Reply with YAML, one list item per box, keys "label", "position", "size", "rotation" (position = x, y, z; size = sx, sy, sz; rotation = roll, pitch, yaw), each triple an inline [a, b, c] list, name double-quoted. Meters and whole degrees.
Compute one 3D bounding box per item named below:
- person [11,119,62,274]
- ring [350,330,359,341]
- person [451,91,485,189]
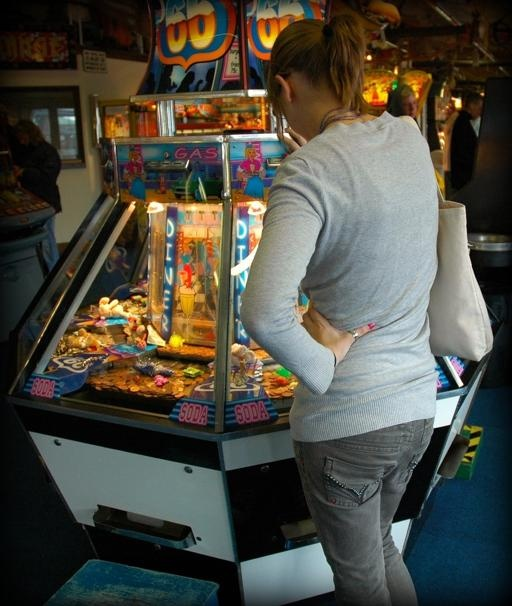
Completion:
- label: "person"
  position: [-2.392, -1.230, 5.455]
  size: [0.464, 1.550, 1.040]
  rotation: [-8, 16, -20]
- label: "ring"
  position: [0.185, 0.062, 0.919]
  size: [0.021, 0.018, 0.015]
  rotation: [4, 12, 29]
- label: "person"
  position: [2.151, -1.642, 5.103]
  size: [0.281, 0.954, 0.495]
  rotation: [4, 16, 20]
